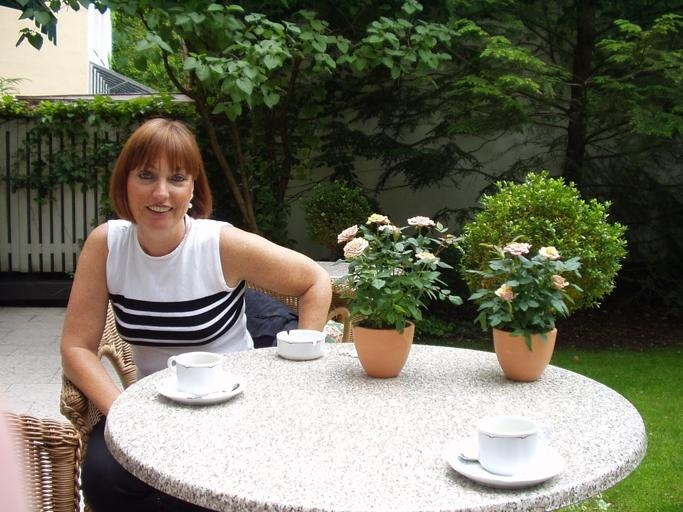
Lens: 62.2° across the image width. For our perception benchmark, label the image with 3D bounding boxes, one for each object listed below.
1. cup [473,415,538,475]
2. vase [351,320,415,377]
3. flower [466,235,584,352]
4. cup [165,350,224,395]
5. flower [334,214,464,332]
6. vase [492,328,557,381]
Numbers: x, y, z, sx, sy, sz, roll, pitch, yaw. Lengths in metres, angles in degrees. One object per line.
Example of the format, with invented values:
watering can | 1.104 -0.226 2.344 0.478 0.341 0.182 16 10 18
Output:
cup | 0.369 0.412 1.275 0.100 0.089 0.135 -2 -2 39
vase | 0.133 0.303 1.868 0.214 0.164 0.217 3 5 37
flower | 0.574 0.102 1.830 0.283 0.311 0.311 -4 12 0
cup | -0.424 0.336 1.651 0.133 0.081 0.105 1 5 9
flower | 0.177 0.093 1.845 0.369 0.416 0.458 -7 -16 3
vase | 0.586 0.295 1.830 0.181 0.136 0.176 0 1 -3
